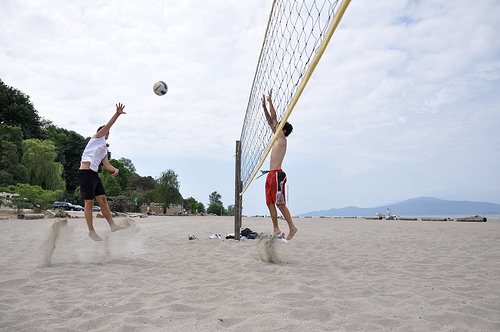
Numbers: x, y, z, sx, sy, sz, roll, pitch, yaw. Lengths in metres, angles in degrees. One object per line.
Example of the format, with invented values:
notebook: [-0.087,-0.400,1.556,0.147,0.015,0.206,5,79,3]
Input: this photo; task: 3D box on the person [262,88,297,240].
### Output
person: [0.437,-0.027,5.023,0.499,2.451,0.842,-1,-1,7]

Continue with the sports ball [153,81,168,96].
sports ball: [-1.756,-1.525,6.418,0.220,0.310,0.392,0,-2,-22]

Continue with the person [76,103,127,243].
person: [-2.309,0.115,5.015,0.601,2.103,0.599,0,-1,-28]

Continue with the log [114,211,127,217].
log: [-7.693,2.832,19.206,0.676,0.201,0.764,3,-3,-14]

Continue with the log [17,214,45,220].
log: [-8.770,2.034,13.035,0.193,0.236,1.040,-1,-2,22]

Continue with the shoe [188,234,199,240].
shoe: [-1.184,1.484,6.755,0.120,0.067,0.171,0,-4,29]
